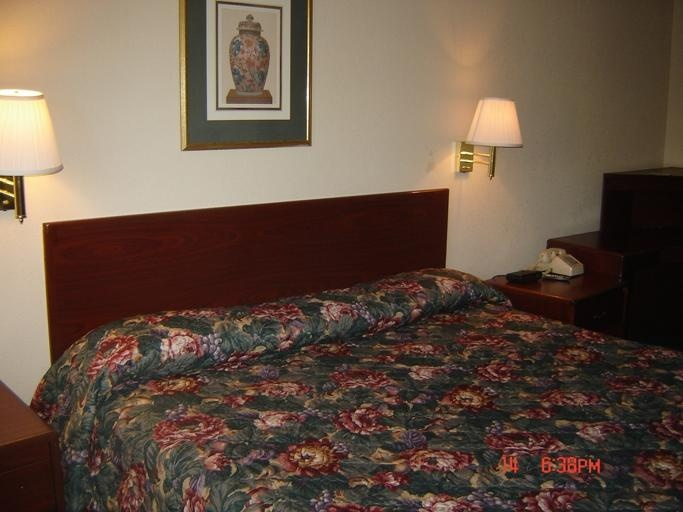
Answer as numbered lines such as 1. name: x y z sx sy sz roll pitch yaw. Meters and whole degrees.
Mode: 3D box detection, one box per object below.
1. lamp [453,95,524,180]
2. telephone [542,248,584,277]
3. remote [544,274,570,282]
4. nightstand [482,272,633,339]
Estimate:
1. lamp: 0.999 -0.812 3.682 0.312 0.523 0.376 -7 16 -22
2. telephone: 1.658 0.046 4.056 0.237 0.147 0.232 4 14 18
3. remote: 1.591 0.164 3.972 0.102 0.029 0.081 4 14 19
4. nightstand: 1.597 0.269 3.849 0.565 0.553 0.576 12 19 38
